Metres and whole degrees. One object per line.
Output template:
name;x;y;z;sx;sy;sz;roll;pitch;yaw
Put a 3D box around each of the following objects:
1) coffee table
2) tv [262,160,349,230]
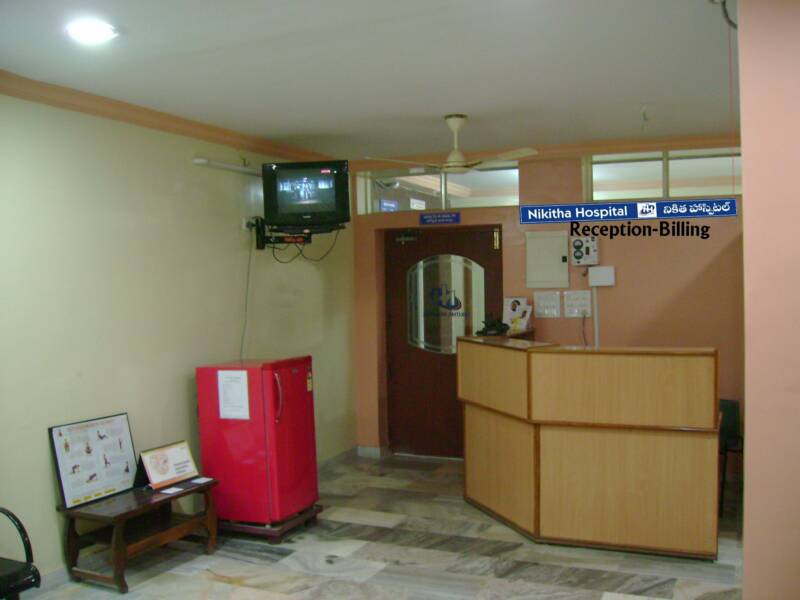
coffee table;-1.915;1.616;4.729;0.561;0.581;1.069;-1;0;24
tv;-0.849;-0.945;6.045;1.004;0.715;0.520;0;10;1
